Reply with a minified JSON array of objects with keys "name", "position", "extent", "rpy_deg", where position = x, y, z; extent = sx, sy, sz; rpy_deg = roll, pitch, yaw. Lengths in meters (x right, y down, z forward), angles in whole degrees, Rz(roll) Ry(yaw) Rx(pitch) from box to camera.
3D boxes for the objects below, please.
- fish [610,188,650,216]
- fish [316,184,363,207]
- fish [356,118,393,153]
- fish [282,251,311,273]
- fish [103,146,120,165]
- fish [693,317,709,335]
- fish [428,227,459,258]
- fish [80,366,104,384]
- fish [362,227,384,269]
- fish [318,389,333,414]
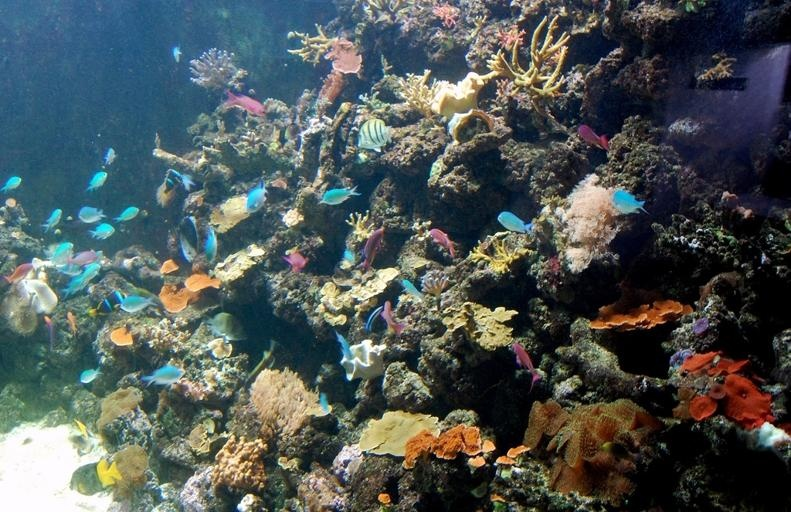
[{"name":"fish","position":[4.293,-0.971,12.913],"extent":[0.605,0.513,0.570],"rpy_deg":[7,23,19]},{"name":"fish","position":[-1.198,-1.320,15.730],"extent":[0.806,0.384,0.187],"rpy_deg":[-16,-21,-11]},{"name":"fish","position":[-0.420,-2.560,15.155],"extent":[0.790,0.650,0.288],"rpy_deg":[0,4,8]},{"name":"fish","position":[-2.228,0.172,15.924],"extent":[0.485,0.467,0.177],"rpy_deg":[-36,-21,10]},{"name":"fish","position":[-8.038,-2.787,19.965],"extent":[0.474,0.549,0.154],"rpy_deg":[2,-14,13]},{"name":"fish","position":[5.339,1.226,12.323],"extent":[0.237,0.312,0.118],"rpy_deg":[0,21,2]},{"name":"fish","position":[1.129,-0.324,14.487],"extent":[0.514,0.967,0.302],"rpy_deg":[3,57,43]},{"name":"fish","position":[-7.466,2.941,17.392],"extent":[0.466,0.168,0.592],"rpy_deg":[-4,-2,-8]},{"name":"fish","position":[-0.456,-0.136,15.042],"extent":[0.352,0.838,0.229],"rpy_deg":[25,23,-28]},{"name":"fish","position":[-1.518,3.170,14.978],"extent":[0.342,0.344,0.081],"rpy_deg":[-16,-8,-42]}]
